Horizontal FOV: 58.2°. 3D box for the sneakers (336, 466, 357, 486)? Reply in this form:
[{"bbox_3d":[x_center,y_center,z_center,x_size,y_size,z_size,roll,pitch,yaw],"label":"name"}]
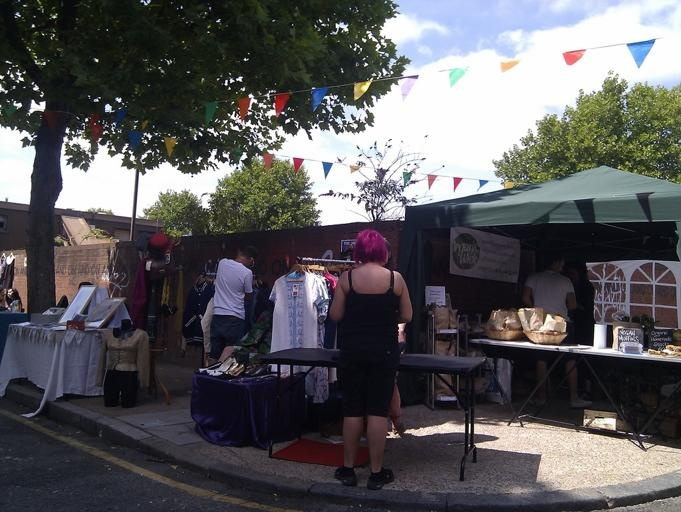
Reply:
[{"bbox_3d":[0.061,2.433,6.764,0.118,0.137,0.309,0,-2,-21],"label":"sneakers"}]

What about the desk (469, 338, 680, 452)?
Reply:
[{"bbox_3d":[3.581,1.972,9.362,2.900,1.392,2.174,-4,-7,31],"label":"desk"}]

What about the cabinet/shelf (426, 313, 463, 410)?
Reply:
[{"bbox_3d":[1.647,2.028,9.838,0.426,1.267,0.414,1,12,17],"label":"cabinet/shelf"}]

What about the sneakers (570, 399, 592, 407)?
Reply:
[{"bbox_3d":[3.868,2.390,9.940,0.372,0.145,0.139,-2,-5,-1],"label":"sneakers"}]

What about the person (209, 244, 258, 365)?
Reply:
[{"bbox_3d":[-1.658,0.722,9.331,0.617,1.787,0.517,2,-6,-12],"label":"person"}]

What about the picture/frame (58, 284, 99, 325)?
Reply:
[{"bbox_3d":[-4.845,0.901,11.128,0.635,0.094,1.183,5,-49,-40],"label":"picture/frame"}]

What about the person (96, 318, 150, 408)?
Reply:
[{"bbox_3d":[-3.331,1.632,9.405,0.770,1.332,0.321,1,-6,-10],"label":"person"}]

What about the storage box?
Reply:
[{"bbox_3d":[-1.462,1.942,8.273,1.068,0.652,1.186,23,-28,-34],"label":"storage box"}]

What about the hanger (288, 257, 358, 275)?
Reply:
[{"bbox_3d":[-0.160,0.130,8.894,0.387,0.363,1.145,7,3,30],"label":"hanger"}]

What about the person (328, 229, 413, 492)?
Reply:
[{"bbox_3d":[0.339,1.123,7.104,0.890,2.874,0.869,1,3,-5],"label":"person"}]
